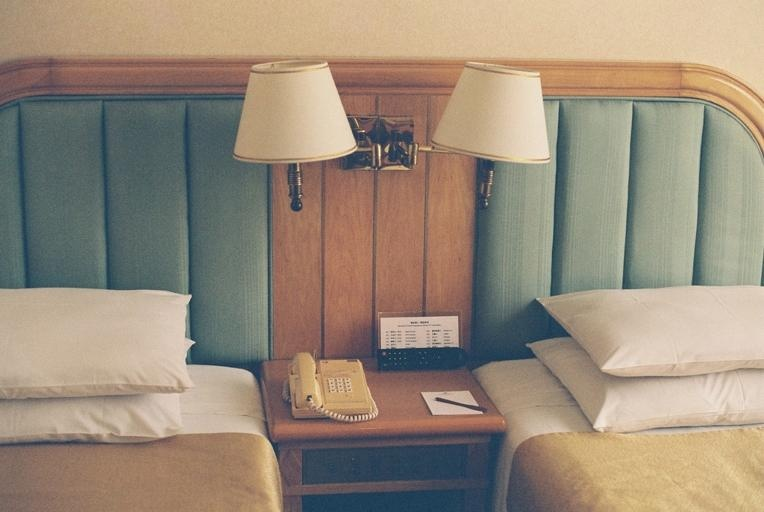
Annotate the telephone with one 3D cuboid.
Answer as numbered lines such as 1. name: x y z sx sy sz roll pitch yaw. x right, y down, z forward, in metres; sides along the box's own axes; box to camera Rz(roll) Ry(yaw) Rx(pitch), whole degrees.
1. telephone: -0.160 0.420 2.581 0.284 0.187 0.249 -2 8 -3
